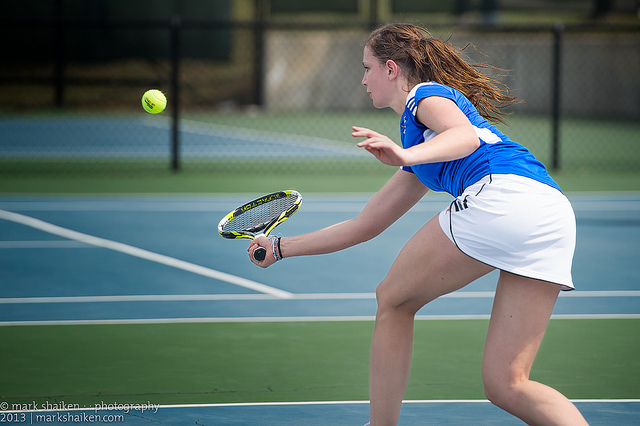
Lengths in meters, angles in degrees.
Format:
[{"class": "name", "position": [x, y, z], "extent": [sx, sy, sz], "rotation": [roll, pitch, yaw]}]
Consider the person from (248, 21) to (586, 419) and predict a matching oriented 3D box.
[{"class": "person", "position": [0.722, 0.130, 4.244], "extent": [1.631, 2.290, 0.971], "rotation": [7, 11, -2]}]

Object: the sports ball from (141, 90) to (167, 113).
[{"class": "sports ball", "position": [-2.042, -1.190, 8.192], "extent": [0.247, 0.241, 0.310], "rotation": [4, 11, -16]}]

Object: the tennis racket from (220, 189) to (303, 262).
[{"class": "tennis racket", "position": [-0.490, 0.126, 4.990], "extent": [0.658, 0.160, 1.002], "rotation": [-20, 19, 6]}]

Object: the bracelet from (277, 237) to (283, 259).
[{"class": "bracelet", "position": [-0.326, 0.201, 4.579], "extent": [0.031, 0.110, 0.059], "rotation": [4, 12, -20]}]
